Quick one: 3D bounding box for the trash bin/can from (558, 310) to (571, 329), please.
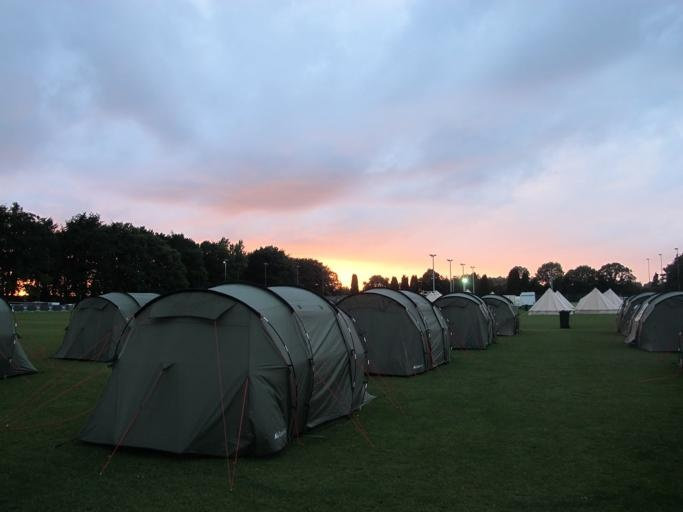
[{"bbox_3d":[16.014,4.575,39.235,0.609,0.950,0.752,-1,0,16],"label":"trash bin/can"}]

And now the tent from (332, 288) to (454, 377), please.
[{"bbox_3d":[1.565,2.774,20.183,3.199,2.137,3.269,-4,-4,27],"label":"tent"}]

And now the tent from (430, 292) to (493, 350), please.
[{"bbox_3d":[5.998,3.176,27.709,2.676,1.933,2.800,-2,-1,18],"label":"tent"}]

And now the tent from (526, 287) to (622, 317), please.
[{"bbox_3d":[26.274,5.134,61.439,11.190,2.220,3.952,-1,-1,-32],"label":"tent"}]

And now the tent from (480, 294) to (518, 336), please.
[{"bbox_3d":[10.060,3.651,34.120,2.475,2.037,2.539,-3,-1,39],"label":"tent"}]
